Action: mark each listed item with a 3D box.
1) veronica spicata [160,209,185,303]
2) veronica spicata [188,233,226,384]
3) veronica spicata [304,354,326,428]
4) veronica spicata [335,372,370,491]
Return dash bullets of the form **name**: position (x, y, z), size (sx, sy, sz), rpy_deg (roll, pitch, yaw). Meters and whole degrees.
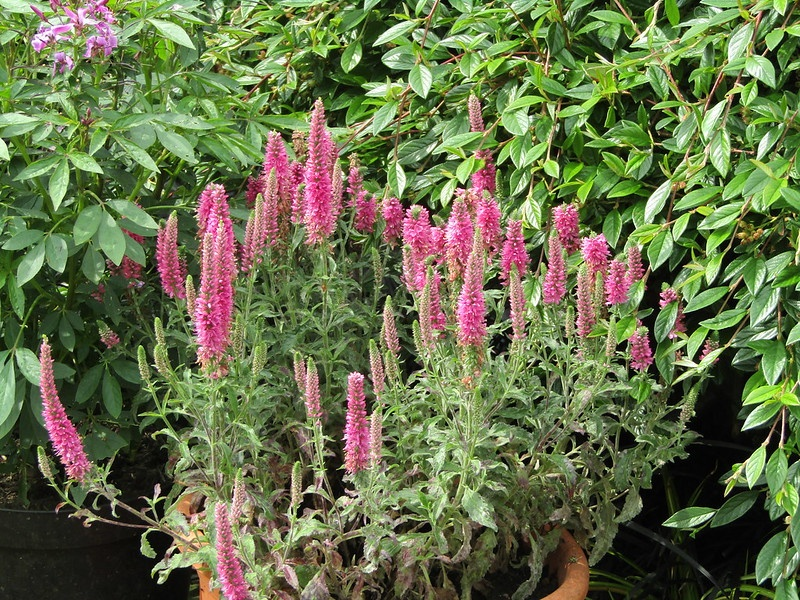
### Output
- **veronica spicata**: position (-0.739, -0.146, 2.823), size (0.082, 0.305, 0.271), rpy_deg (-3, 16, -13)
- **veronica spicata**: position (-0.552, 0.007, 2.510), size (0.092, 0.414, 0.238), rpy_deg (-3, 16, -14)
- **veronica spicata**: position (-0.247, 0.251, 2.455), size (0.037, 0.232, 0.187), rpy_deg (0, 15, -5)
- **veronica spicata**: position (-0.119, 0.345, 2.397), size (0.068, 0.343, 0.162), rpy_deg (0, 16, -2)
